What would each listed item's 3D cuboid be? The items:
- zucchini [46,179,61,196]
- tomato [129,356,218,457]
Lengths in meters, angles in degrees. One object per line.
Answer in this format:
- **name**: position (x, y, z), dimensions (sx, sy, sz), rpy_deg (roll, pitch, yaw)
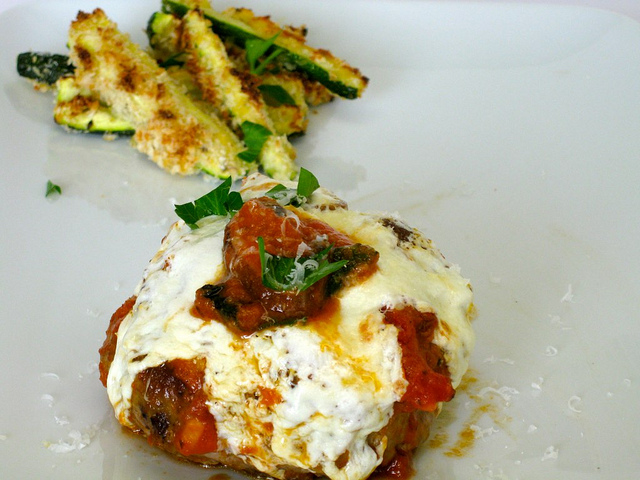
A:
- **zucchini**: position (-1.634, -0.327, 4.728), dimensions (0.089, 0.028, 0.103), rpy_deg (-17, 59, -6)
- **tomato**: position (-0.633, 0.738, 3.534), dimensions (0.361, 0.458, 0.329), rpy_deg (-14, 24, -31)
